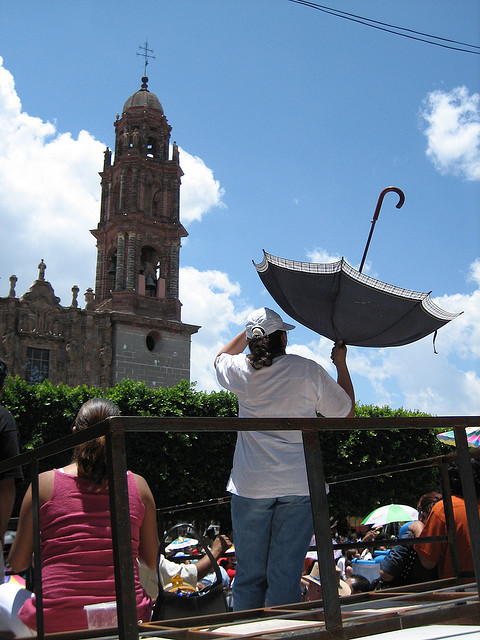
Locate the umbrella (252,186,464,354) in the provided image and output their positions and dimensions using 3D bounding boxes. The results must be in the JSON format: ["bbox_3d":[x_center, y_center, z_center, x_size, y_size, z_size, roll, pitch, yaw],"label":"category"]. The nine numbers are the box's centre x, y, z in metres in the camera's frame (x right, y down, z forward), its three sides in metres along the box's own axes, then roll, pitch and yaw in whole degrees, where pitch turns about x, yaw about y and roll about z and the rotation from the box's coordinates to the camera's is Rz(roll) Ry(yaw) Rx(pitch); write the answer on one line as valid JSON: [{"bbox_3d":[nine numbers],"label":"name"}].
[{"bbox_3d":[0.784,-0.332,4.250,1.394,1.023,1.192,11,-11,22],"label":"umbrella"}]

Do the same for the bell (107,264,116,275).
[{"bbox_3d":[-6.870,-2.735,35.469,0.389,0.549,1.017,1,-9,-15],"label":"bell"}]

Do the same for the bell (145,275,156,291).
[{"bbox_3d":[-4.763,-1.987,35.349,0.566,0.761,0.631,0,-9,-8],"label":"bell"}]

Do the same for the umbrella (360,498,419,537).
[{"bbox_3d":[2.930,3.789,12.820,0.960,0.393,1.101,-4,-9,18],"label":"umbrella"}]

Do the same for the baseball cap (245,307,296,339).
[{"bbox_3d":[0.154,0.003,3.467,0.233,0.115,0.148,-14,12,-33],"label":"baseball cap"}]

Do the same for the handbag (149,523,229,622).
[{"bbox_3d":[-0.228,1.156,2.910,0.344,0.414,0.236,0,-11,-28],"label":"handbag"}]

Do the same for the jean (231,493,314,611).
[{"bbox_3d":[0.145,1.079,3.113,0.397,0.806,0.244,-2,-7,-4],"label":"jean"}]
